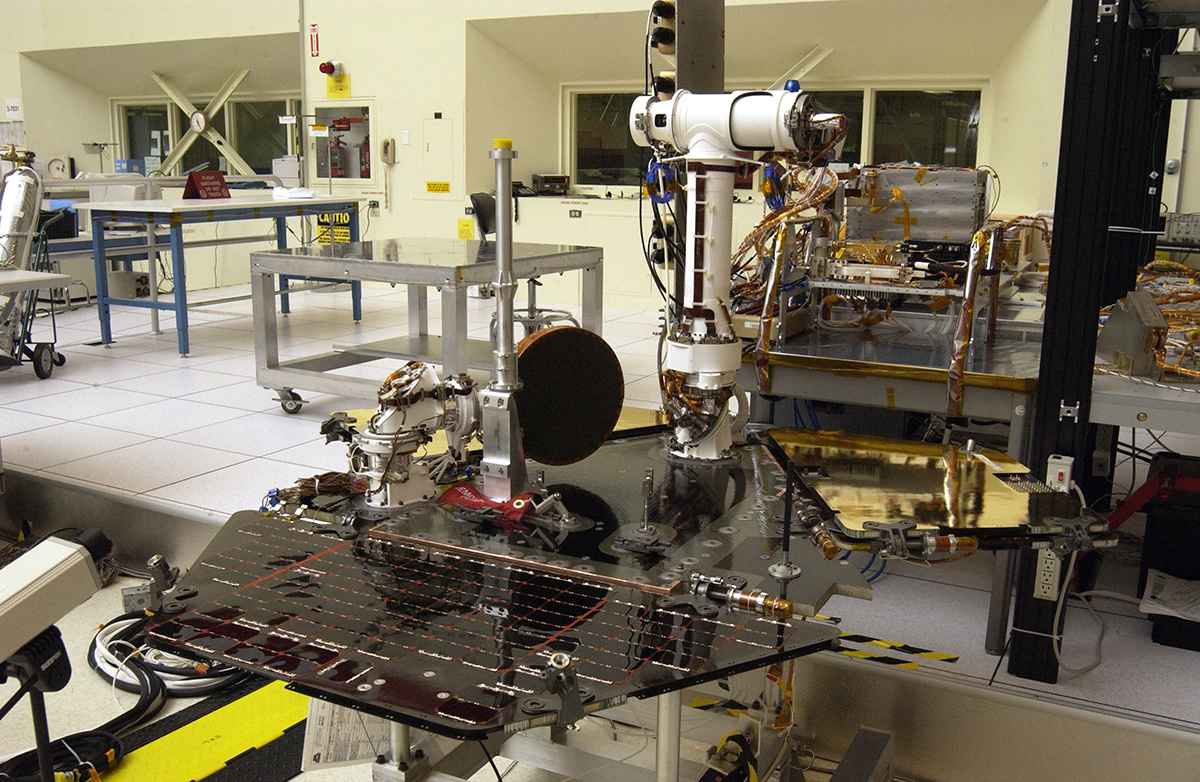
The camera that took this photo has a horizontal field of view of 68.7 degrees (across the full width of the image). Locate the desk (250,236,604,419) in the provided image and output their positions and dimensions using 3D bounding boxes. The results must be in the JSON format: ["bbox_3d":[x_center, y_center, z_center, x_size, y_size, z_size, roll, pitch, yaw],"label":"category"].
[{"bbox_3d":[-1.091,-0.410,5.345,1.743,0.990,1.277,9,16,21],"label":"desk"}]

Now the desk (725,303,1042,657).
[{"bbox_3d":[1.089,0.155,3.590,1.289,1.059,1.226,12,19,23],"label":"desk"}]

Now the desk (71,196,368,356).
[{"bbox_3d":[-3.063,-1.023,7.377,1.236,1.046,1.944,3,14,22],"label":"desk"}]
